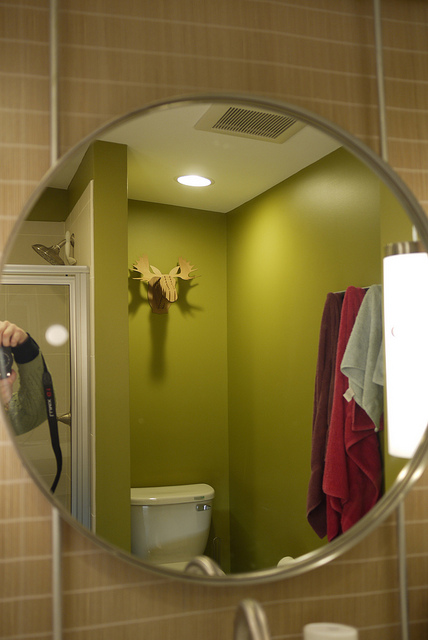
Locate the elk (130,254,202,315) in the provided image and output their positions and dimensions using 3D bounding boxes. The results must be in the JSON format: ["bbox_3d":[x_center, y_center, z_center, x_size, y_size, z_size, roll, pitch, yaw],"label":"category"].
[{"bbox_3d":[-0.085,-0.056,0.948,0.089,0.097,0.036,2,-2,-22],"label":"elk"}]
